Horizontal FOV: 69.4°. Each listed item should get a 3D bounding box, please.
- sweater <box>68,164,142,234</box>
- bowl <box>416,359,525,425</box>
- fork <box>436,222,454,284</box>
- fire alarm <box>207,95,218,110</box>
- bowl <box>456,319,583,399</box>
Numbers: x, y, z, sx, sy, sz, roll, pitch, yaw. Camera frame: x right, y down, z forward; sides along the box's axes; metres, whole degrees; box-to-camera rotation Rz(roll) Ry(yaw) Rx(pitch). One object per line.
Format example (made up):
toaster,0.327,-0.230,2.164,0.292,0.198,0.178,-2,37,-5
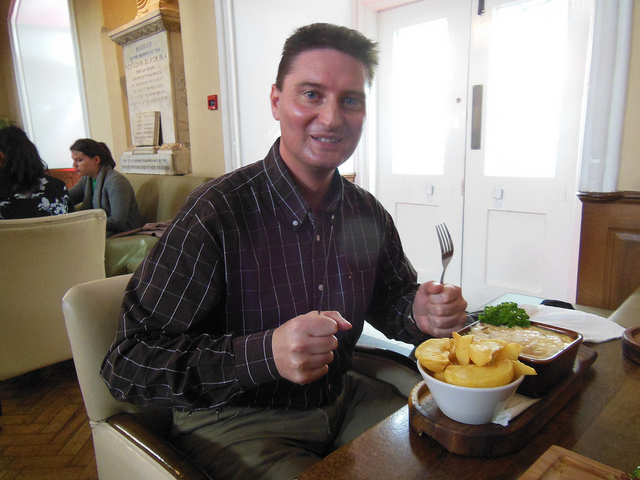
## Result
sweater,-1.956,-0.361,4.059,0.695,0.574,0.523,14,18,24
bowl,0.361,0.310,1.036,0.166,0.078,0.165,-1,2,0
fork,0.760,0.069,2.781,0.063,0.062,0.539,-3,55,23
fire alarm,-0.912,-1.172,3.914,0.124,0.148,0.020,3,8,32
bowl,0.545,0.254,1.234,0.209,0.087,0.255,-11,15,-31
